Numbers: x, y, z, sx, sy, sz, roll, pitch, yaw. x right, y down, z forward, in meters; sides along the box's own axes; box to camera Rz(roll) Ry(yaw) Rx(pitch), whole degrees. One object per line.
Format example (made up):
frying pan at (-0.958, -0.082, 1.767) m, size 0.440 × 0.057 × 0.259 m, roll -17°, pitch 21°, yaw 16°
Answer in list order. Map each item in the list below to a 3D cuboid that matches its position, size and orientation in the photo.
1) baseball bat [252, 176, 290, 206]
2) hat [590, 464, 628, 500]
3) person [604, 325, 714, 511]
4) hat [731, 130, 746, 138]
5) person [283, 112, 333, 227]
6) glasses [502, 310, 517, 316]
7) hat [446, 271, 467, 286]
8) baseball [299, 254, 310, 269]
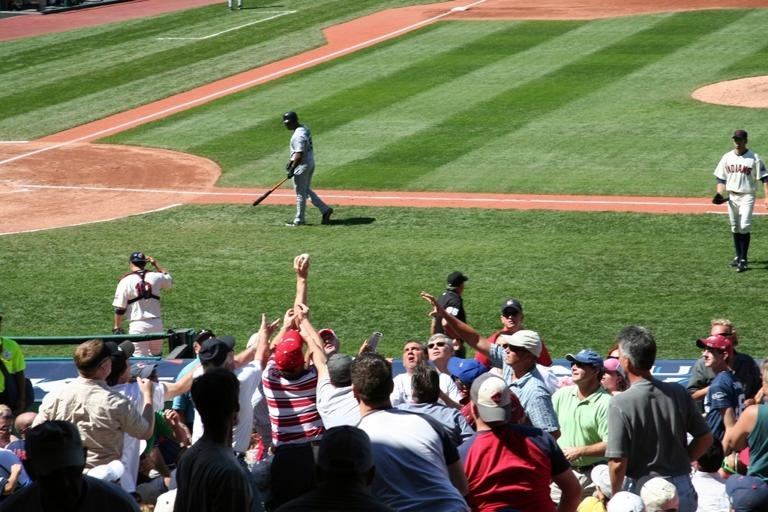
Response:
baseball bat at (-2.864, -1.624, 37.709) m, size 1.556 × 0.136 × 0.111 m, roll -31°, pitch 20°, yaw -6°
hat at (3.849, 3.855, 25.725) m, size 0.509 × 0.475 × 0.314 m, roll -6°, pitch -19°, yaw -36°
person at (4.675, 2.743, 25.415) m, size 1.640 × 3.114 × 0.377 m, roll 0°, pitch 0°, yaw 6°
hat at (7.759, -2.610, 31.957) m, size 0.303 × 0.146 × 0.425 m, roll 1°, pitch -3°, yaw 40°
person at (-1.862, -2.062, 35.573) m, size 1.072 × 2.709 × 1.580 m, roll 0°, pitch -1°, yaw -2°
glasses at (2.359, 1.028, 27.516) m, size 0.229 × 0.100 × 0.292 m, roll 1°, pitch -4°, yaw 10°
hat at (1.459, 0.439, 29.065) m, size 0.294 × 0.160 × 0.393 m, roll 18°, pitch 38°, yaw 39°
baseball at (-1.439, 0.081, 26.811) m, size 0.151 × 0.215 × 0.186 m, roll 0°, pitch -1°, yaw 7°
